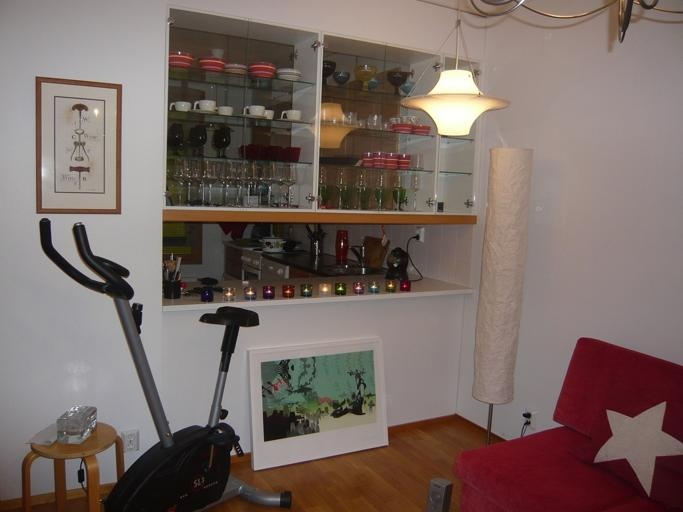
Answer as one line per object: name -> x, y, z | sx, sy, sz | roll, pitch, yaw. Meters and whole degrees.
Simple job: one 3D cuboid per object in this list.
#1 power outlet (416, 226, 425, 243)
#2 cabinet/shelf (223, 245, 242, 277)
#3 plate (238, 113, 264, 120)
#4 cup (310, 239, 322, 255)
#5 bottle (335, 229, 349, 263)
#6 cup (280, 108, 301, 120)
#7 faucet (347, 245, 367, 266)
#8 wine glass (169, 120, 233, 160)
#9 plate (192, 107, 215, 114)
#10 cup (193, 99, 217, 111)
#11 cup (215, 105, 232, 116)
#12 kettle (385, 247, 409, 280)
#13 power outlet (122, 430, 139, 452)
power outlet -> 0.727, -0.195, 4.983 | 0.092, 0.139, 0.020 | 5, 9, 33
cabinet/shelf -> -1.225, 0.050, 6.249 | 0.208, 0.316, 0.315 | -1, 8, -33
plate -> -0.589, -0.935, 3.687 | 0.171, 0.039, 0.017 | -4, 9, -26
cup -> -0.262, -0.105, 5.993 | 0.108, 0.148, 0.203 | -1, 8, -5
bottle -> 0.017, -0.105, 5.492 | 0.137, 0.313, 0.335 | 0, 8, 0
cup -> -0.341, -0.989, 3.831 | 0.110, 0.055, 0.072 | -1, 8, -6
faucet -> 0.173, -0.013, 5.376 | 0.202, 0.221, 0.155 | 1, 0, -41
wine glass -> -0.901, -0.752, 3.562 | 0.291, 0.191, 0.218 | -3, 9, -23
plate -> -0.882, -0.944, 3.564 | 0.144, 0.041, 0.019 | -4, 9, -29
cup -> -0.886, -0.975, 3.562 | 0.094, 0.045, 0.076 | -1, 10, -8
cup -> -0.761, -0.958, 3.618 | 0.076, 0.038, 0.061 | 0, 2, -38
kettle -> 0.464, 0.049, 4.626 | 0.255, 0.344, 0.222 | 1, 4, -2
power outlet -> -1.348, 1.179, 3.521 | 0.115, 0.151, 0.020 | -4, 9, -25
